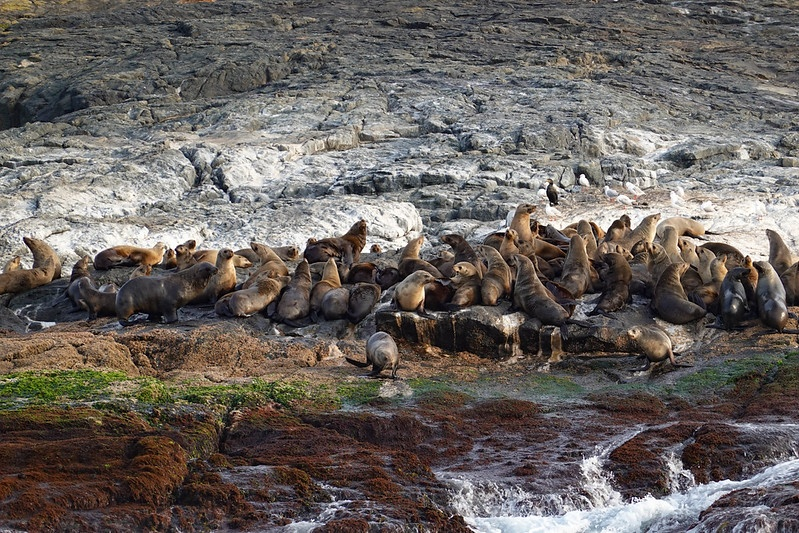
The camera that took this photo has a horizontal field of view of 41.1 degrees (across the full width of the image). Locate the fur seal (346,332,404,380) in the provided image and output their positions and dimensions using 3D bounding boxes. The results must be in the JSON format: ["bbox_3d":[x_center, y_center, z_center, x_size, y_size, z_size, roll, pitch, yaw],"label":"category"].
[{"bbox_3d":[-0.447,2.108,25.656,1.404,0.483,1.246,0,4,-13],"label":"fur seal"}]

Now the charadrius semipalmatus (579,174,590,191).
[{"bbox_3d":[7.151,-3.250,41.311,0.466,0.548,0.744,4,9,8],"label":"charadrius semipalmatus"}]
